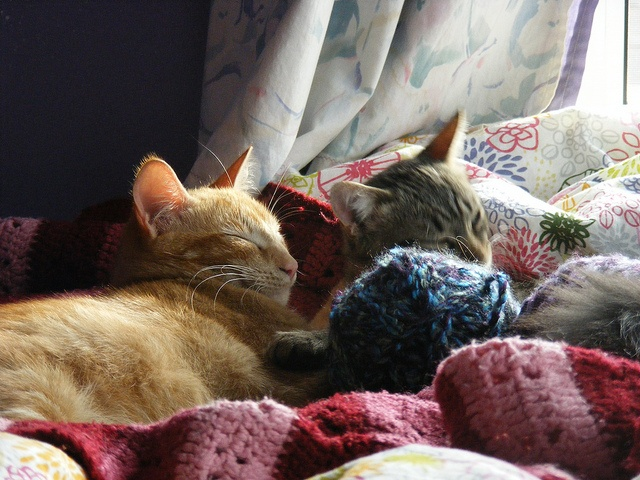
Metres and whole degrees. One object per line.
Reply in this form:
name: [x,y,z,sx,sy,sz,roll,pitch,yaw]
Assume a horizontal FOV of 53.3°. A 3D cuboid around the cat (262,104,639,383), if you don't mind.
cat: [0.201,0.003,0.982,0.444,0.287,0.452,14,26,5]
